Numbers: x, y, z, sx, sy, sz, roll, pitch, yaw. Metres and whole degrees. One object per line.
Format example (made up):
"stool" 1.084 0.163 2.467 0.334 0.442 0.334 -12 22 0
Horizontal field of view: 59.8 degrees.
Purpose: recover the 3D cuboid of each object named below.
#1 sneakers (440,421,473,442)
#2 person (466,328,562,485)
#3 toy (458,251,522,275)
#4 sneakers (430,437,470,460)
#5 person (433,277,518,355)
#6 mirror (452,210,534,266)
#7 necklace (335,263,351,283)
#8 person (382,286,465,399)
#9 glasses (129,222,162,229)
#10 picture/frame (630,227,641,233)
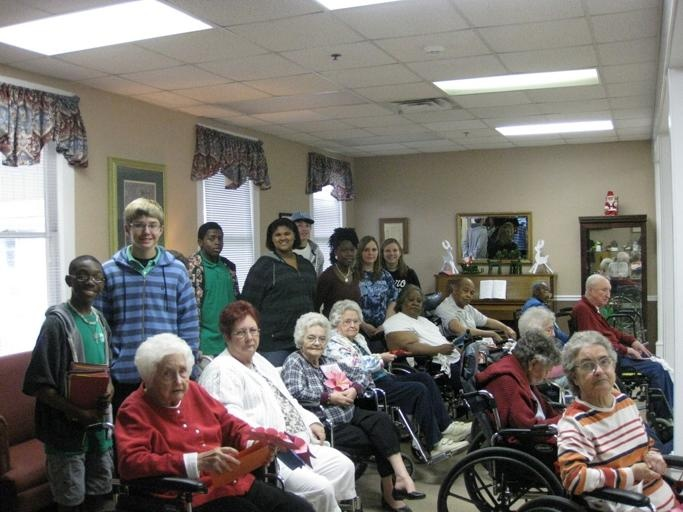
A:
"sneakers" 0.976 1.420 4.997 0.254 0.103 0.111 -7 2 -16
"person" 1.173 0.885 3.796 0.553 0.828 0.581 1 3 -1
"toy" 2.559 0.063 10.172 1.007 0.420 0.475 2 3 14
"sneakers" 0.838 1.497 4.785 0.355 0.142 0.115 -18 5 0
"person" 1.443 0.639 6.844 0.912 0.912 0.763 -6 2 25
"mirror" 2.701 -0.347 10.339 1.028 0.673 0.038 0 -2 15
"necklace" 0.017 0.150 5.934 0.172 0.154 0.051 5 -23 -44
"person" 0.690 0.755 6.206 1.051 1.043 0.846 -5 -7 23
"glasses" -1.339 -0.216 4.070 0.192 0.050 0.060 0 3 -19
"picture/frame" 4.589 -0.428 9.257 0.132 0.065 0.082 -1 -12 13
